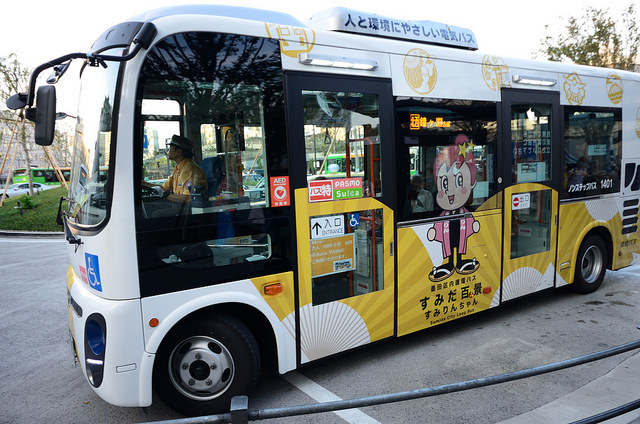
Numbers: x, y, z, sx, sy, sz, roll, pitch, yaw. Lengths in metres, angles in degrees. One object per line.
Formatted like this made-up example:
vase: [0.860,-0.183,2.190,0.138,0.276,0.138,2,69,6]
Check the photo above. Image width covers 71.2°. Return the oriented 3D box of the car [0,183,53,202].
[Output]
car: [-21.082,-1.345,31.935,1.516,1.206,3.438,-1,1,14]

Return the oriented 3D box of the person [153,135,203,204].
person: [-1.722,-0.561,5.551,0.637,0.952,0.721,-4,9,-21]
